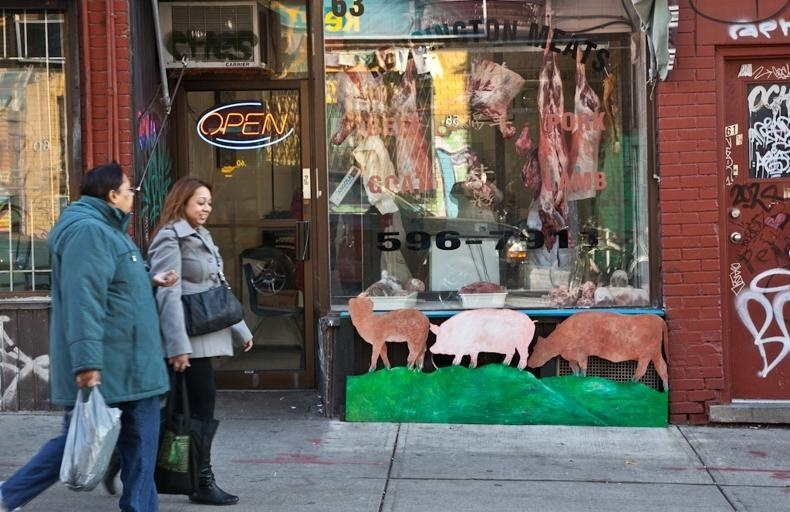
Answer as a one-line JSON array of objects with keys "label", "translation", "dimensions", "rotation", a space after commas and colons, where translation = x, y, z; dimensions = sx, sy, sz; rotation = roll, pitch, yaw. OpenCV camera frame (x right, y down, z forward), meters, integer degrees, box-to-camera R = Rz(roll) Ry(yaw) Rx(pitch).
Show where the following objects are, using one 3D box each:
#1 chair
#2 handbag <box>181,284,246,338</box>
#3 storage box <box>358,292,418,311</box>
[{"label": "chair", "translation": [-1.128, 0.387, 11.312], "dimensions": [0.947, 1.305, 0.916], "rotation": [0, 1, 6]}, {"label": "handbag", "translation": [-1.541, 0.462, 8.259], "dimensions": [0.385, 0.268, 0.152], "rotation": [-14, -8, -33]}, {"label": "storage box", "translation": [-0.062, 0.449, 10.009], "dimensions": [0.567, 0.208, 0.111], "rotation": [5, -6, 2]}]
